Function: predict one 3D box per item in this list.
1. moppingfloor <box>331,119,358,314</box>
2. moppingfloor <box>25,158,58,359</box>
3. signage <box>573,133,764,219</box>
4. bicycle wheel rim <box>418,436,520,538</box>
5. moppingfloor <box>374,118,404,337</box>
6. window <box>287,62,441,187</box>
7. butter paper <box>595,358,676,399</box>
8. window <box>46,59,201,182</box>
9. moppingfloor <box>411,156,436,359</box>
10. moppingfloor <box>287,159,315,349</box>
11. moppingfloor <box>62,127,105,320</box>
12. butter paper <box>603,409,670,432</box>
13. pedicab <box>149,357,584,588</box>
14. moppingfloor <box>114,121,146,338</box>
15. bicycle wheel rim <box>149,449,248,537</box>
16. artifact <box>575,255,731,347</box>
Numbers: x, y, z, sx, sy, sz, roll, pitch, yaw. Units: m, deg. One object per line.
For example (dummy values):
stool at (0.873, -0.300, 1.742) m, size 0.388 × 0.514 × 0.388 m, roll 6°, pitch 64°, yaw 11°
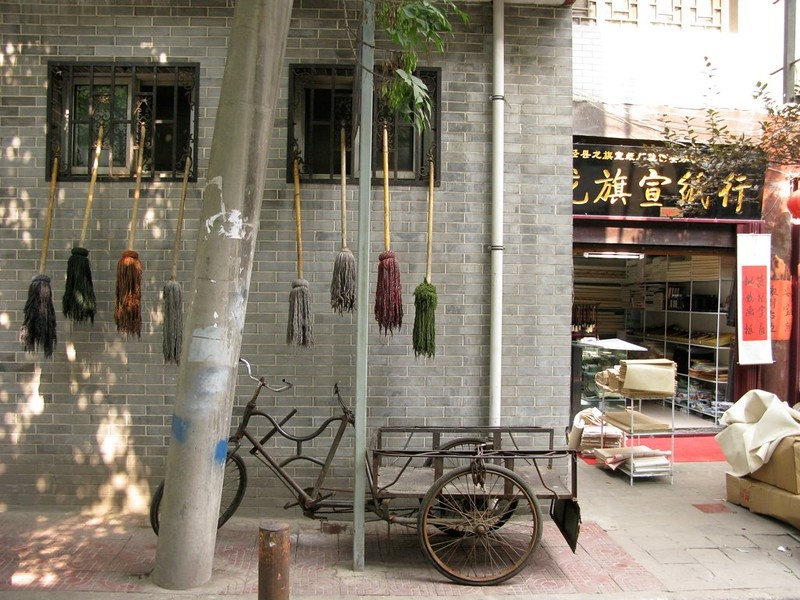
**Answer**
moppingfloor at (-0.551, -0.788, 8.609) m, size 0.245 × 1.891 × 0.597 m, roll 1°, pitch 5°, yaw -4°
moppingfloor at (-3.531, -0.412, 8.613) m, size 0.346 × 1.988 × 0.429 m, roll -1°, pitch 6°, yaw -15°
signage at (3.107, -1.411, 10.509) m, size 0.041 × 0.925 × 2.504 m, roll -10°, pitch 12°, yaw -42°
bicycle wheel rim at (0.625, 1.683, 7.761) m, size 1.001 × 0.216 × 0.928 m, roll 0°, pitch 24°, yaw 15°
moppingfloor at (-0.089, -0.677, 8.594) m, size 0.287 × 2.062 × 0.513 m, roll 1°, pitch 5°, yaw 0°
window at (-0.348, -1.713, 8.622) m, size 1.600 × 1.006 × 0.071 m, roll 0°, pitch -6°, yaw -2°
butter paper at (2.643, 0.877, 9.915) m, size 0.505 × 0.283 × 0.662 m, roll 1°, pitch -1°, yaw -9°
window at (-2.779, -1.801, 8.854) m, size 1.396 × 0.952 × 0.060 m, roll 0°, pitch 6°, yaw 2°
moppingfloor at (0.260, -0.412, 8.619) m, size 0.239 × 1.995 × 0.492 m, roll 1°, pitch 5°, yaw 2°
moppingfloor at (-0.967, -0.479, 8.545) m, size 0.243 × 1.838 × 0.545 m, roll 0°, pitch 5°, yaw -6°
moppingfloor at (-3.103, -0.701, 8.648) m, size 0.310 × 1.316 × 0.291 m, roll 7°, pitch -2°, yaw 38°
butter paper at (2.681, 1.361, 9.777) m, size 0.366 × 0.089 × 0.382 m, roll 0°, pitch 7°, yaw -8°
pedicab at (-0.348, 1.516, 8.242) m, size 4.021 × 1.708 × 1.196 m, roll 1°, pitch 7°, yaw 0°
moppingfloor at (-2.616, -0.696, 8.630) m, size 0.282 × 1.896 × 0.335 m, roll 3°, pitch 5°, yaw -14°
bicycle wheel rim at (-1.770, 1.723, 7.787) m, size 0.173 × 0.758 × 0.838 m, roll 21°, pitch 27°, yaw 23°
artifact at (3.839, 0.025, 13.192) m, size 0.510 × 1.310 × 1.497 m, roll 0°, pitch -2°, yaw -26°
